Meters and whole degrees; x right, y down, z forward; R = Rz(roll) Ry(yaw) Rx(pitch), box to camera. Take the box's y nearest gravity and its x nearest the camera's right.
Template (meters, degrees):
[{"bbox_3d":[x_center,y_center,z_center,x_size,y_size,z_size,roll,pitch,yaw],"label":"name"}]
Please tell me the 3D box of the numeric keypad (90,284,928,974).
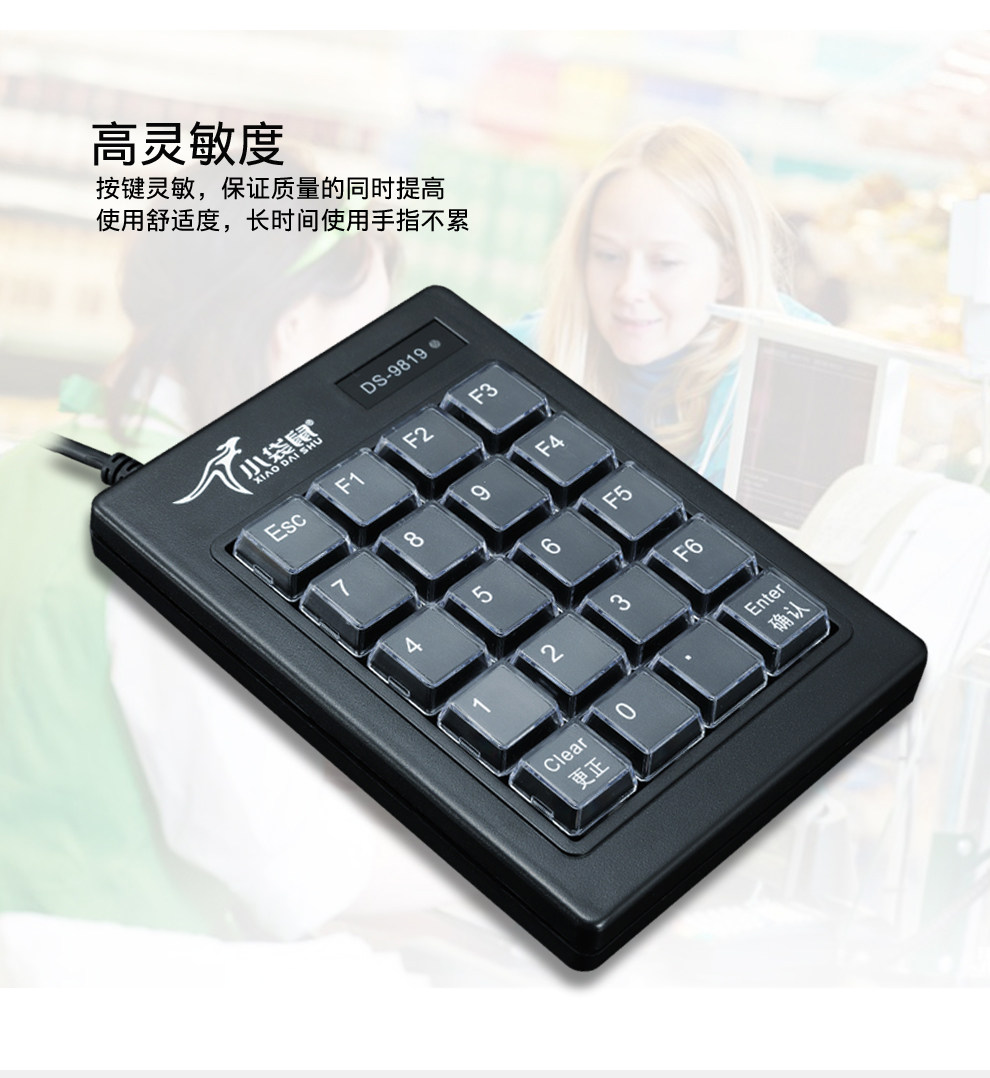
[{"bbox_3d":[-0.026,0.036,0.576,0.390,0.085,0.289,35,50,26],"label":"numeric keypad"}]
